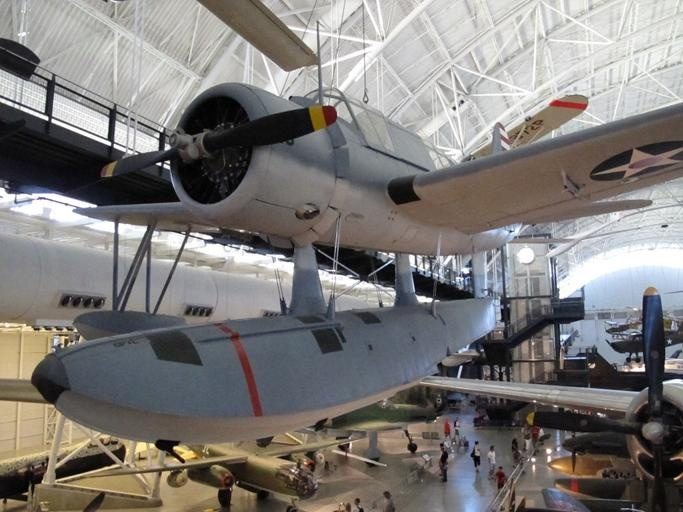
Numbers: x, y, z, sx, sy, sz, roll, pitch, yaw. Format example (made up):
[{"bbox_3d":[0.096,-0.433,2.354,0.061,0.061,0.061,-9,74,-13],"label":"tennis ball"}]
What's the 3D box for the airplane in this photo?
[{"bbox_3d":[0.214,-0.385,8.924,8.016,6.946,4.331,3,-10,-2],"label":"airplane"}]
